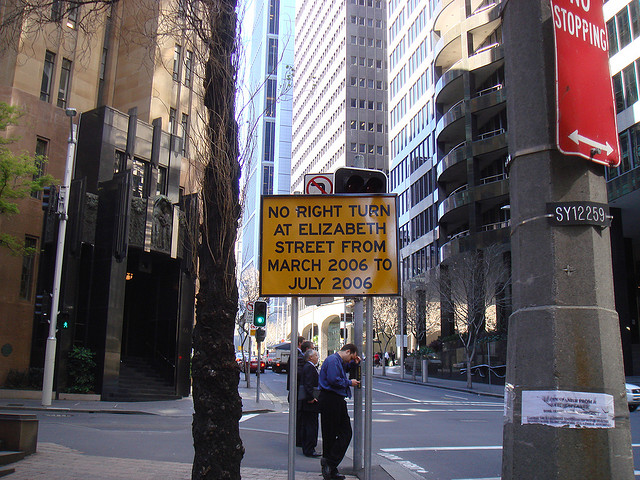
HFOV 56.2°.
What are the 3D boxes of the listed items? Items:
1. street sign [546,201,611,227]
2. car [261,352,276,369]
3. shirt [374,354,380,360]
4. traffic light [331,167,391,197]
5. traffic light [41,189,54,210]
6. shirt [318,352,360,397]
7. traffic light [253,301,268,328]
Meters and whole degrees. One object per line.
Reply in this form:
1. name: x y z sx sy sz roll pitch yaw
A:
1. street sign: 2.199 -0.221 5.159 0.315 0.139 0.270 0 -3 5
2. car: -4.997 12.122 58.803 1.334 1.394 3.321 1 -5 -2
3. shirt: 6.308 13.089 66.939 0.505 0.837 0.728 8 2 34
4. traffic light: 0.666 -0.970 9.750 0.655 0.617 0.727 2 -3 -5
5. traffic light: -9.517 -1.411 20.908 0.540 0.798 0.469 3 2 3
6. shirt: 0.325 2.366 10.286 0.611 0.832 0.612 9 -9 -14
7. traffic light: -1.970 2.434 19.835 0.379 0.710 0.779 3 -13 -10
